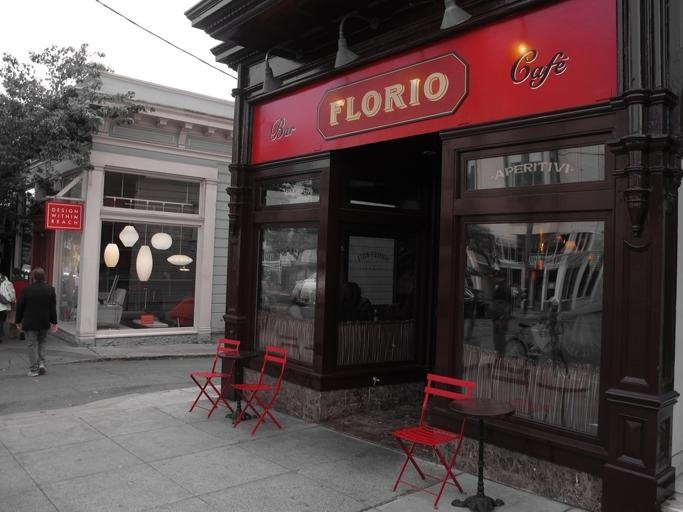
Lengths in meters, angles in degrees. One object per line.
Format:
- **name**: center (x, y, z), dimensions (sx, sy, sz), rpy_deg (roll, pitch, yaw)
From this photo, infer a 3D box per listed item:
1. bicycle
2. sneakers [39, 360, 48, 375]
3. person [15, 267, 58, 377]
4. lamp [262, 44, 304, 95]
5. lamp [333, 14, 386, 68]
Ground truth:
- **bicycle**: center (2.115, 0.959, 5.707), dimensions (0.764, 0.518, 0.455), rpy_deg (2, -6, 45)
- **sneakers**: center (-6.186, 2.332, 10.896), dimensions (0.103, 0.154, 0.325), rpy_deg (1, -7, -24)
- **person**: center (-6.235, 1.337, 10.739), dimensions (0.697, 1.440, 0.766), rpy_deg (2, -1, -32)
- **lamp**: center (-1.083, -3.056, 8.614), dimensions (0.347, 0.708, 0.942), rpy_deg (2, -1, -42)
- **lamp**: center (0.130, -3.056, 7.385), dimensions (0.378, 0.701, 0.724), rpy_deg (2, -1, -37)
